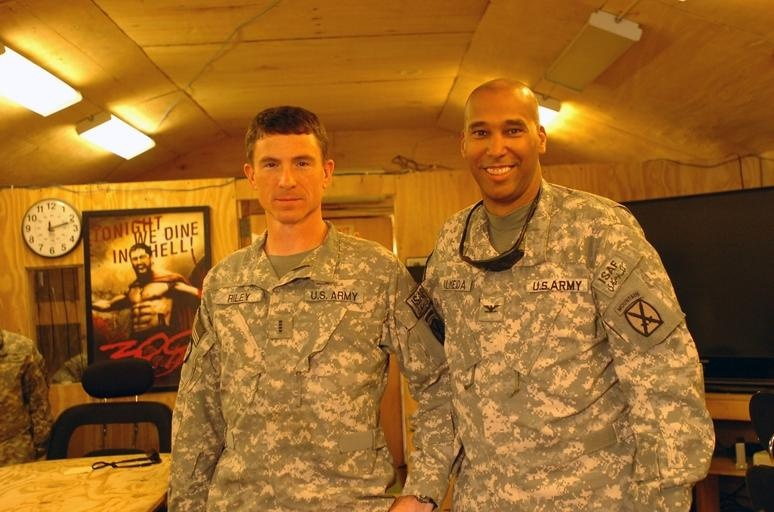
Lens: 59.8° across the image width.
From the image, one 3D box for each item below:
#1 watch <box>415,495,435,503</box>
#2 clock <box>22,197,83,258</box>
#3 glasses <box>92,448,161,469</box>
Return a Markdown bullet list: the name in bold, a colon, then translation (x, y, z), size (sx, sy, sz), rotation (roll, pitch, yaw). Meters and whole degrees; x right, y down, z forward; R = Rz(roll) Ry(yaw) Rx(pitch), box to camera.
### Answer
- **watch**: translation (0.164, 1.040, 2.875), size (0.046, 0.012, 0.047), rotation (15, -1, -45)
- **clock**: translation (-2.730, -0.229, 5.445), size (0.533, 0.482, 0.084), rotation (1, -4, -2)
- **glasses**: translation (-1.554, 1.233, 4.032), size (0.293, 0.075, 0.151), rotation (-2, -2, -3)
